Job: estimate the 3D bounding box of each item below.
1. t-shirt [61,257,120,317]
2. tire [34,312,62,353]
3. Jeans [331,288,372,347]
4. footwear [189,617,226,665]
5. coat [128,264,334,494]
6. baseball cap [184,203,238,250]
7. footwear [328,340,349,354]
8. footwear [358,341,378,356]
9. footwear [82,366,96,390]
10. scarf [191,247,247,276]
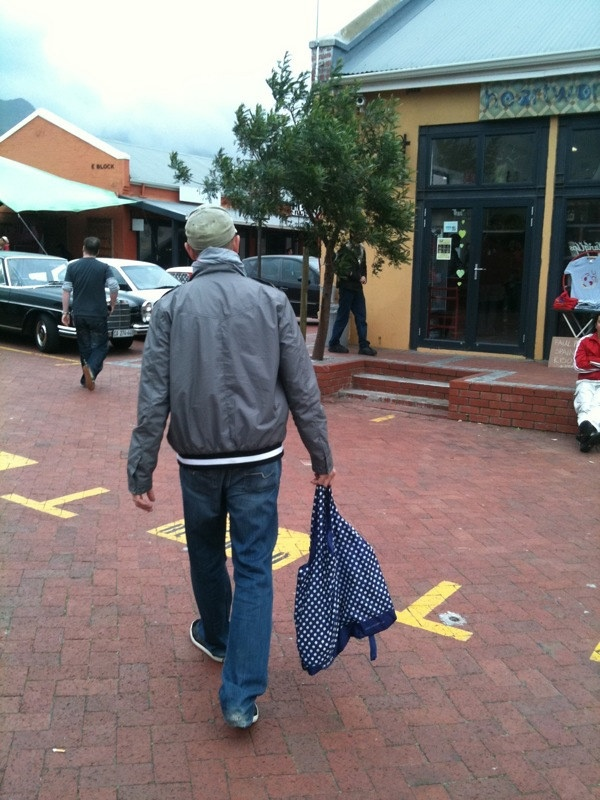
[{"bbox_3d":[-2.681,-1.422,8.813,0.759,0.744,0.367,-2,4,4],"label":"t-shirt"},{"bbox_3d":[-4.438,-1.207,12.174,0.258,0.734,0.691,2,1,-45],"label":"tire"},{"bbox_3d":[0.766,-1.383,11.051,0.683,1.223,0.374,0,23,7],"label":"Jeans"},{"bbox_3d":[-0.405,1.021,2.916,0.222,0.088,0.082,36,20,26],"label":"footwear"},{"bbox_3d":[-0.227,-0.042,2.354,0.681,0.756,0.266,3,10,4],"label":"coat"},{"bbox_3d":[-0.332,-0.605,2.497,0.143,0.190,0.109,0,-20,1],"label":"baseball cap"},{"bbox_3d":[0.600,-0.838,11.046,0.394,0.170,0.145,1,11,-28],"label":"footwear"},{"bbox_3d":[1.097,-0.783,10.751,0.418,0.288,0.142,4,8,40],"label":"footwear"},{"bbox_3d":[-2.733,-0.273,8.947,0.175,0.377,0.162,-5,-5,33],"label":"footwear"},{"bbox_3d":[-0.295,-0.467,2.414,0.122,0.073,0.141,6,9,39],"label":"scarf"}]
